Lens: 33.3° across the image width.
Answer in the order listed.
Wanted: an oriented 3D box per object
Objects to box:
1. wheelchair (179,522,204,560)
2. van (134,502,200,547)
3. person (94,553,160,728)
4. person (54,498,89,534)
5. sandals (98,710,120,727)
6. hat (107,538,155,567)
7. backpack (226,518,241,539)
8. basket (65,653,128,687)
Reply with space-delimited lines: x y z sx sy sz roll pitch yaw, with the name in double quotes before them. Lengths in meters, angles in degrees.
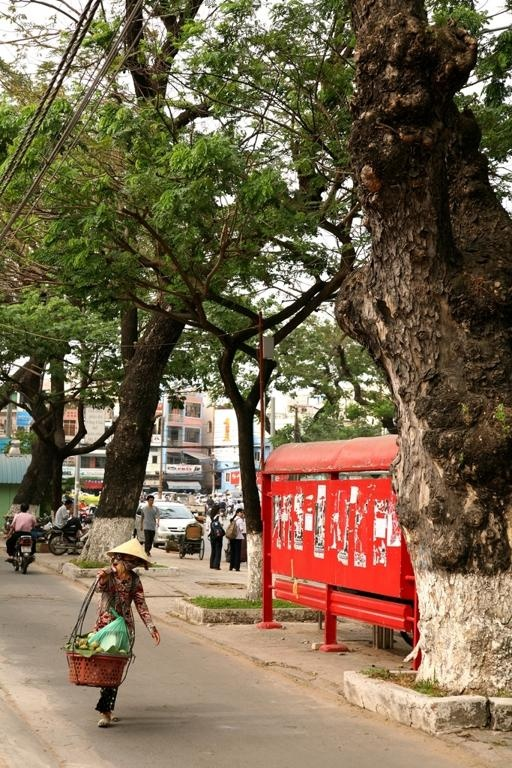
"wheelchair" -1.841 4.589 25.333 0.748 1.137 1.238 2 0 1
"van" -2.851 4.881 29.516 1.704 1.358 3.149 3 -11 -20
"person" -0.912 1.737 6.063 0.459 1.220 0.861 2 -9 -8
"person" -4.953 3.547 22.814 0.970 1.082 0.782 0 0 -29
"sandals" -0.989 2.265 5.777 0.072 0.085 0.203 1 -4 4
"hat" -0.928 1.190 6.177 0.251 0.114 0.254 -5 -27 46
"backpack" -0.511 3.477 20.518 0.359 0.561 0.971 1 -9 -1
"basket" -1.040 1.847 5.522 0.310 0.136 0.296 -1 -15 8
